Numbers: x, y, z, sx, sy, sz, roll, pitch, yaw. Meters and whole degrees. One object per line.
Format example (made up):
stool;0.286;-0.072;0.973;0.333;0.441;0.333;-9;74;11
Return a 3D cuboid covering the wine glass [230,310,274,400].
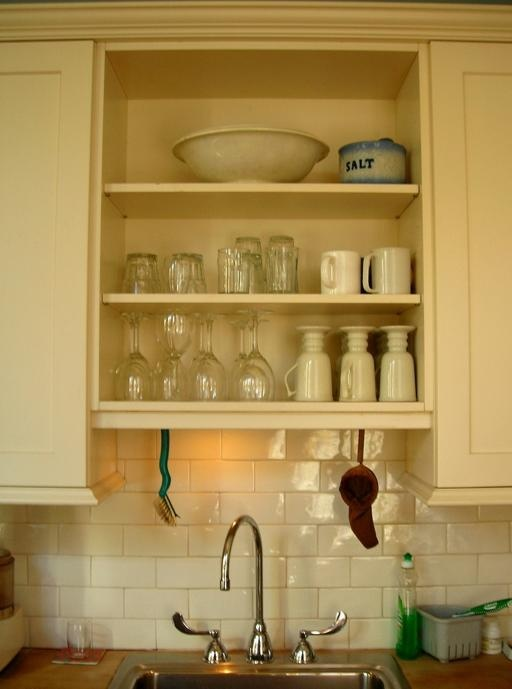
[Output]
wine glass;-0.019;0.024;1.767;0.091;0.187;0.195;-2;6;-14

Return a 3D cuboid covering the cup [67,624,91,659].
cup;-0.419;0.698;1.817;0.050;0.082;0.028;-2;6;-13

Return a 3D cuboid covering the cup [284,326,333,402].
cup;0.122;0.042;1.719;0.103;0.162;0.100;0;6;0

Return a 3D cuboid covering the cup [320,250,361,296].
cup;0.183;-0.157;1.735;0.072;0.101;0.115;4;9;42

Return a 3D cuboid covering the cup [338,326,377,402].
cup;0.226;0.043;1.719;0.079;0.163;0.124;0;6;5

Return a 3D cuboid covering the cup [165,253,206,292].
cup;-0.160;-0.161;1.801;0.088;0.093;0.088;0;-4;0

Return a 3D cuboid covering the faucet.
faucet;-0.019;0.564;1.768;0.116;0.348;0.305;-1;6;-2

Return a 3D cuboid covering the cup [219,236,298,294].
cup;0.004;-0.174;1.745;0.190;0.128;0.109;2;-4;-11

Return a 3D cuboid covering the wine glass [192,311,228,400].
wine glass;-0.109;0.031;1.757;0.077;0.186;0.219;-1;5;-3

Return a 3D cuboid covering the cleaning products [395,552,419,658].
cleaning products;0.369;0.624;1.862;0.057;0.230;0.132;1;6;10

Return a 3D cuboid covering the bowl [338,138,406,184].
bowl;0.241;-0.422;1.804;0.155;0.096;0.160;1;14;0

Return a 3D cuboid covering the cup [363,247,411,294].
cup;0.279;-0.160;1.728;0.123;0.111;0.074;-12;13;-33

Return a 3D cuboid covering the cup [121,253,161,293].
cup;-0.264;-0.158;1.815;0.089;0.101;0.090;1;-7;0
